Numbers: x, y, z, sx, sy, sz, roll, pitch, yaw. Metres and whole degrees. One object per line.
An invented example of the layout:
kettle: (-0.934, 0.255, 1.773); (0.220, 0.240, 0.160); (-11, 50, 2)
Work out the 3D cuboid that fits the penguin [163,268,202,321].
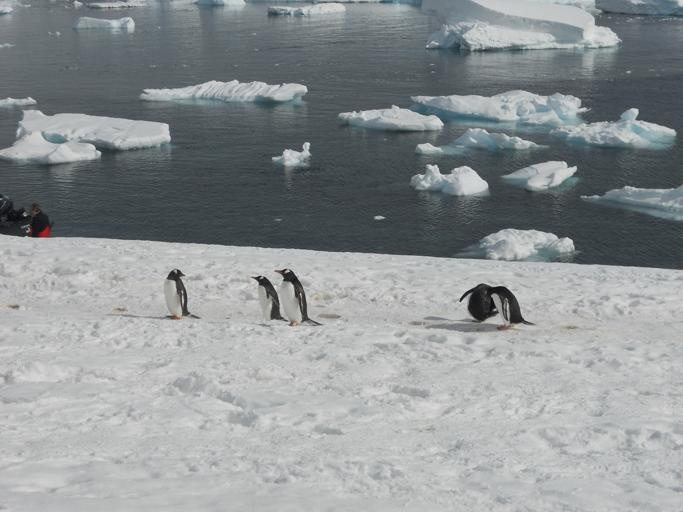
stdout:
penguin: (-3.942, 0.877, 25.997); (0.737, 1.341, 0.676); (-2, 21, -8)
